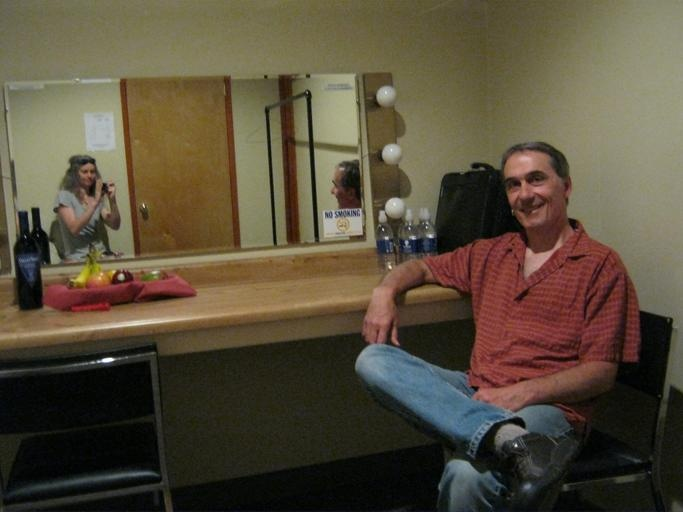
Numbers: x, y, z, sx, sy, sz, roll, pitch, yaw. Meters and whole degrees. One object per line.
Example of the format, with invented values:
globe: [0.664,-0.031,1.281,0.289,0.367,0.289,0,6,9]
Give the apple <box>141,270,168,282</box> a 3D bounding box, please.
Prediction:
apple: [-0.686,0.062,2.002,0.094,0.050,0.048,-2,18,-5]

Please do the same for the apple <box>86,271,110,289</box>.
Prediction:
apple: [-0.847,0.083,1.902,0.060,0.059,0.060,-1,9,-13]

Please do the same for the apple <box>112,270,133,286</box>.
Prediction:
apple: [-0.767,0.072,1.908,0.051,0.053,0.049,-8,-16,7]

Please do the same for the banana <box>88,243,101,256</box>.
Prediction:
banana: [-0.929,-0.027,2.056,0.048,0.054,0.052,-3,-3,-25]

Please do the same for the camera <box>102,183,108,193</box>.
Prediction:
camera: [-0.906,-0.262,2.094,0.023,0.031,0.028,-2,-11,-23]

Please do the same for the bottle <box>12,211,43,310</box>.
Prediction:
bottle: [-1.074,0.009,1.848,0.090,0.325,0.136,-11,12,-31]

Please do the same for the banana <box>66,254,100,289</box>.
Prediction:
banana: [-0.933,0.070,1.979,0.141,0.086,0.040,-36,-8,27]

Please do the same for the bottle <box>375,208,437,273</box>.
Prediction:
bottle: [0.257,-0.060,2.230,0.244,0.233,0.084,-3,12,3]
